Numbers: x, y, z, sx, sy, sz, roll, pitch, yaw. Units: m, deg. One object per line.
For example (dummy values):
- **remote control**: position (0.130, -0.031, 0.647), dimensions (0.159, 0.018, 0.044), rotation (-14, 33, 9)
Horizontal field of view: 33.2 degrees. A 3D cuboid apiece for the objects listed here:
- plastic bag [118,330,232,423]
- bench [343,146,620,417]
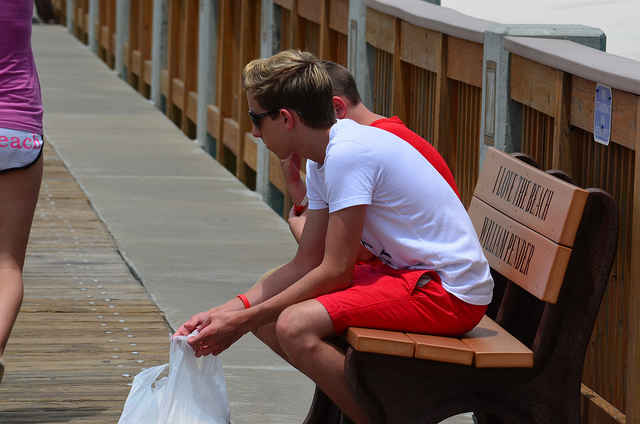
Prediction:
- **plastic bag**: position (-0.659, 0.777, 5.333), dimensions (0.507, 0.506, 0.448), rotation (-3, 3, 5)
- **bench**: position (0.625, 0.184, 5.462), dimensions (1.397, 1.442, 1.240), rotation (-2, 11, -14)
